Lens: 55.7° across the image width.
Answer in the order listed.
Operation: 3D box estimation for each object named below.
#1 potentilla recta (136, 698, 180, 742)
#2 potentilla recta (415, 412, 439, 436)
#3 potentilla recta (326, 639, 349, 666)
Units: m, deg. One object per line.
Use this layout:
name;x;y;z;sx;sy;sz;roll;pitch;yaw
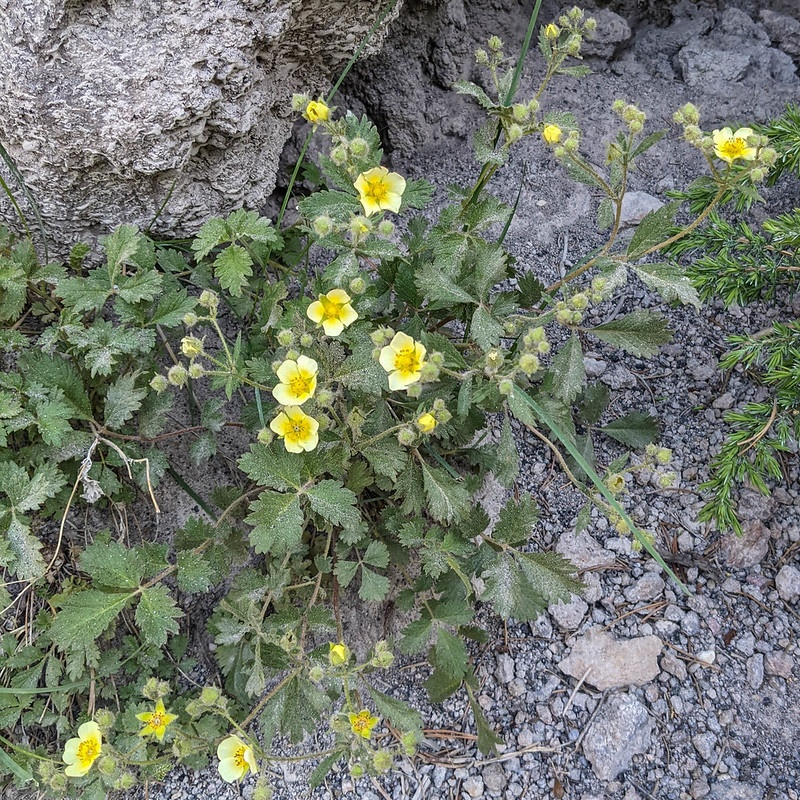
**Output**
potentilla recta;-0.775;1.034;2.453;0.096;0.122;0.180;-7;-17;3
potentilla recta;0.086;0.081;2.443;0.055;0.064;0.067;-3;28;6
potentilla recta;-0.195;0.800;2.384;0.041;0.088;0.076;-4;3;-21
